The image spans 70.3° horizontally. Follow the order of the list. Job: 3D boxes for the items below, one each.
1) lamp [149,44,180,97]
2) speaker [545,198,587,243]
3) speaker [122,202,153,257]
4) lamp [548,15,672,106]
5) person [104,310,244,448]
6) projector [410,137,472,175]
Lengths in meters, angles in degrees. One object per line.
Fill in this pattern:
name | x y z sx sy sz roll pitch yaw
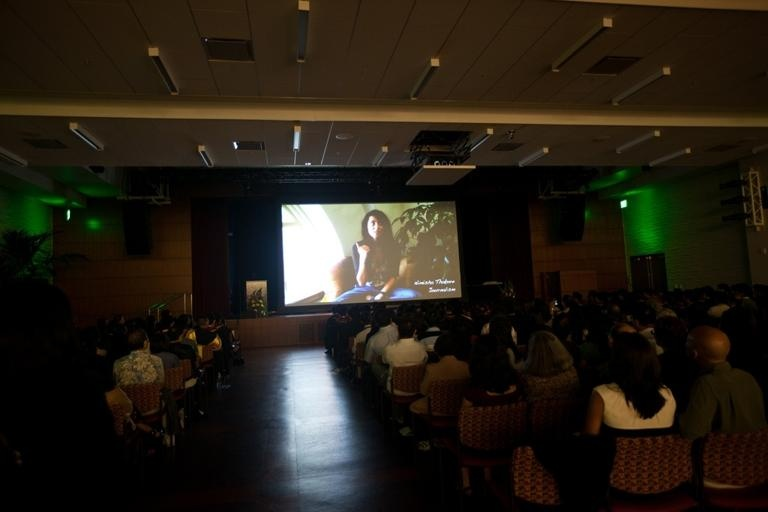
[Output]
lamp | -3.040 -2.545 7.526 0.210 0.451 1.072 -8 5 -10
speaker | 5.604 -1.081 16.880 1.227 1.531 1.059 -1 -9 0
speaker | -6.795 -0.774 15.258 0.869 1.495 0.898 -1 0 -24
lamp | 2.859 -2.831 7.562 0.963 0.498 1.218 -2 7 41
person | -2.970 1.690 7.996 0.737 0.964 2.557 -1 2 -9
projector | 1.024 -1.898 10.045 1.105 0.511 0.753 -7 5 3
